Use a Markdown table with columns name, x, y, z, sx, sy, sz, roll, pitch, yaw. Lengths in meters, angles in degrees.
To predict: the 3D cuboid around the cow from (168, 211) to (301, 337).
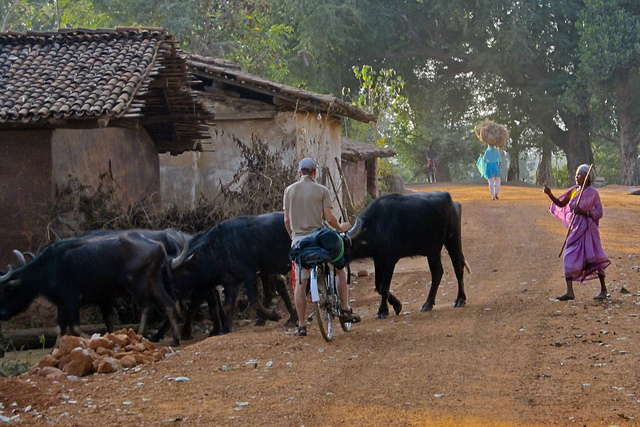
| name | x | y | z | sx | sy | sz | roll | pitch | yaw |
| --- | --- | --- | --- | --- | --- | --- | --- | --- | --- |
| cow | -1.665 | 1.263 | 16.260 | 3.804 | 2.484 | 1.100 | -13 | 8 | -40 |

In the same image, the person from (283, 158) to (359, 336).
| name | x | y | z | sx | sy | sz | roll | pitch | yaw |
| --- | --- | --- | --- | --- | --- | --- | --- | --- | --- |
| person | -0.044 | 0.645 | 14.267 | 1.202 | 3.295 | 0.906 | -4 | 11 | -2 |

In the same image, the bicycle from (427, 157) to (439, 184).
| name | x | y | z | sx | sy | sz | roll | pitch | yaw |
| --- | --- | --- | --- | --- | --- | --- | --- | --- | --- |
| bicycle | 6.877 | -2.410 | 45.890 | 0.741 | 1.061 | 1.645 | 0 | 5 | 7 |

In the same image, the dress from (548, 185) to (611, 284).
| name | x | y | z | sx | sy | sz | roll | pitch | yaw |
| --- | --- | --- | --- | --- | --- | --- | --- | --- | --- |
| dress | 5.230 | 0.519 | 15.252 | 0.867 | 2.197 | 0.903 | -1 | 1 | 0 |

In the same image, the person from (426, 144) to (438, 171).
| name | x | y | z | sx | sy | sz | roll | pitch | yaw |
| --- | --- | --- | --- | --- | --- | --- | --- | --- | --- |
| person | 6.695 | -3.217 | 45.063 | 0.526 | 1.662 | 1.861 | -2 | 12 | 9 |

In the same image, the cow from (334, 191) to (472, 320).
| name | x | y | z | sx | sy | sz | roll | pitch | yaw |
| --- | --- | --- | --- | --- | --- | --- | --- | --- | --- |
| cow | 1.650 | 0.905 | 15.915 | 3.332 | 2.704 | 0.974 | -2 | 4 | -21 |

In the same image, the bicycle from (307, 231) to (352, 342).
| name | x | y | z | sx | sy | sz | roll | pitch | yaw |
| --- | --- | --- | --- | --- | --- | --- | --- | --- | --- |
| bicycle | 0.078 | 1.653 | 14.169 | 0.607 | 1.509 | 1.170 | 2 | 13 | 26 |
